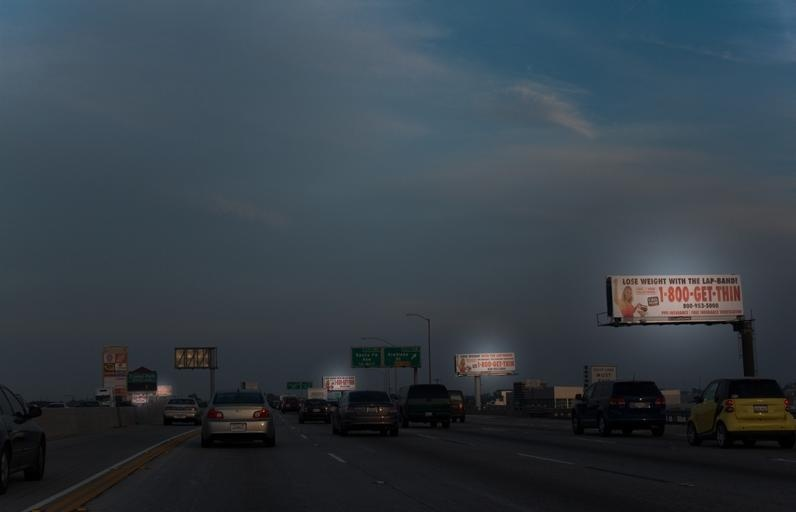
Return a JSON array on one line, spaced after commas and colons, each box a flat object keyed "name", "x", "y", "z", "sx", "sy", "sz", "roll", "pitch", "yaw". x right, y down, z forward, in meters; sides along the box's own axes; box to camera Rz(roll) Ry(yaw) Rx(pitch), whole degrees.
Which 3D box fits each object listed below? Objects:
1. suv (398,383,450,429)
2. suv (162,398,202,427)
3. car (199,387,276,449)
[{"name": "suv", "x": 1.203, "y": 7.589, "z": 54.202, "sx": 3.336, "sy": 2.871, "sz": 6.518, "roll": 1, "pitch": -8, "yaw": -8}, {"name": "suv", "x": -13.229, "y": 9.366, "z": 61.386, "sx": 2.081, "sy": 1.647, "sz": 2.108, "roll": 3, "pitch": -10, "yaw": -7}, {"name": "car", "x": -5.729, "y": 5.663, "z": 35.968, "sx": 2.533, "sy": 1.885, "sz": 1.309, "roll": 3, "pitch": -10, "yaw": -11}]
